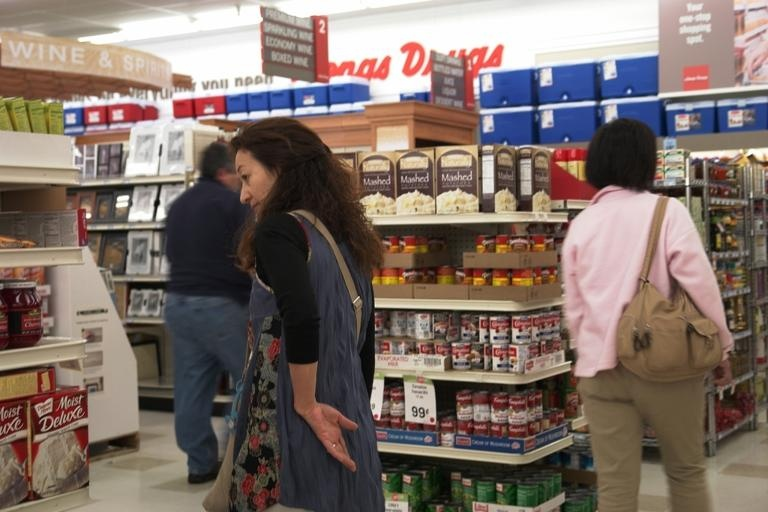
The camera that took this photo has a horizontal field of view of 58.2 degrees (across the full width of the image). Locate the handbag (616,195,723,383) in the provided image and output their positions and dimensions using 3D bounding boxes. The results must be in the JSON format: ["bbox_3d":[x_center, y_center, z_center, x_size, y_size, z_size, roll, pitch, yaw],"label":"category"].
[{"bbox_3d":[1.230,0.141,3.040,0.402,0.791,0.207,-4,4,-14],"label":"handbag"}]

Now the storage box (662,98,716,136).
[{"bbox_3d":[3.652,-1.650,8.250,0.647,0.426,0.392,0,1,28],"label":"storage box"}]
